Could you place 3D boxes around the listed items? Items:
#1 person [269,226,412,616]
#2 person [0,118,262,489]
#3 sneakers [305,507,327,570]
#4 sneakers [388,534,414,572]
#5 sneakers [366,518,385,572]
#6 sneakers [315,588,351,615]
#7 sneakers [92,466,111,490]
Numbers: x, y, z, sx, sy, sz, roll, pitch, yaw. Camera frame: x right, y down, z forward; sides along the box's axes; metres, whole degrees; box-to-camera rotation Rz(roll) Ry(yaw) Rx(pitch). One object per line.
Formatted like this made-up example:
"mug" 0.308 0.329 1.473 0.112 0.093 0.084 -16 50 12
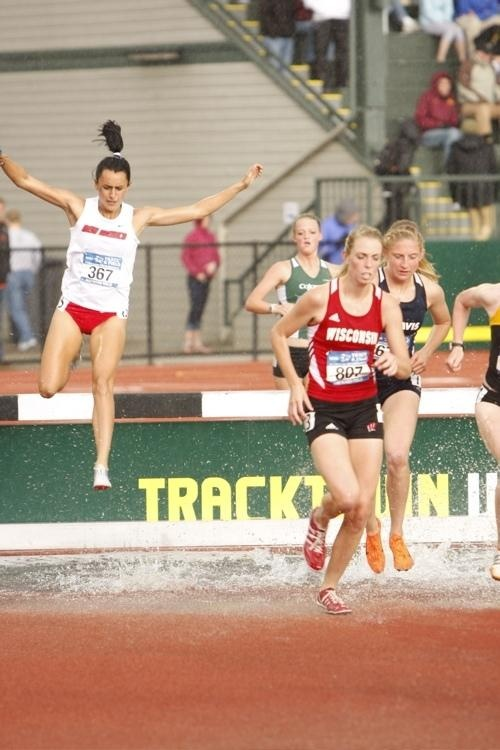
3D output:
"person" 0.410 0.196 4.751 0.564 1.657 0.665 -2 6 -11
"person" -0.731 -0.330 5.495 0.666 1.900 0.878 4 7 33
"sneakers" 0.306 0.781 5.162 0.099 0.292 0.123 -1 5 -10
"sneakers" 0.693 0.823 5.079 0.095 0.174 0.042 -7 -24 -12
"sneakers" 0.568 0.795 5.040 0.073 0.245 0.097 -12 -28 22
"sneakers" 0.353 0.972 4.711 0.069 0.074 0.177 -13 9 -29
"sneakers" -0.695 0.489 5.124 0.066 0.119 0.138 -1 6 -4
